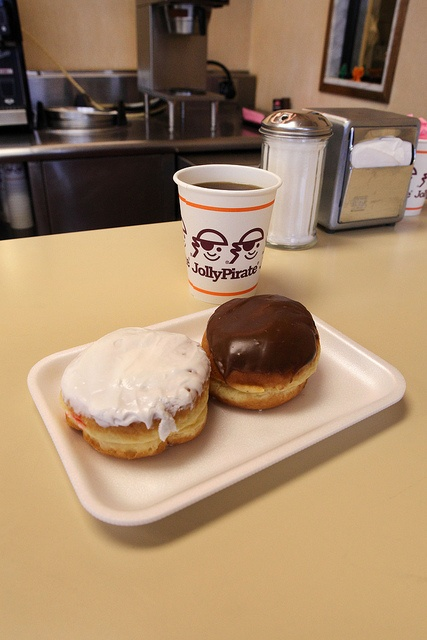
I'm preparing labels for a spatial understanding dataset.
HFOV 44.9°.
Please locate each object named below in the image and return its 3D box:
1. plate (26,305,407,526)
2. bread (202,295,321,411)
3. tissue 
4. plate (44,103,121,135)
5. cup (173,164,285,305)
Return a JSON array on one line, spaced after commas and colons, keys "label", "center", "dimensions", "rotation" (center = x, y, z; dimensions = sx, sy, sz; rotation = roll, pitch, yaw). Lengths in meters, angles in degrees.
[{"label": "plate", "center": [0.029, 0.055, 0.409], "dimensions": [0.235, 0.025, 0.160], "rotation": [-12, 33, -30]}, {"label": "bread", "center": [0.039, 0.028, 0.493], "dimensions": [0.104, 0.061, 0.099], "rotation": [23, 44, 36]}, {"label": "tissue ", "center": [0.207, -0.290, 0.970], "dimensions": [0.169, 0.223, 0.236], "rotation": [-6, 32, -10]}, {"label": "plate", "center": [-0.524, -0.784, 1.995], "dimensions": [0.267, 0.064, 0.311], "rotation": [-16, 33, -28]}, {"label": "cup", "center": [0.014, -0.105, 0.705], "dimensions": [0.177, 0.184, 0.169], "rotation": [1, 30, 0]}]
